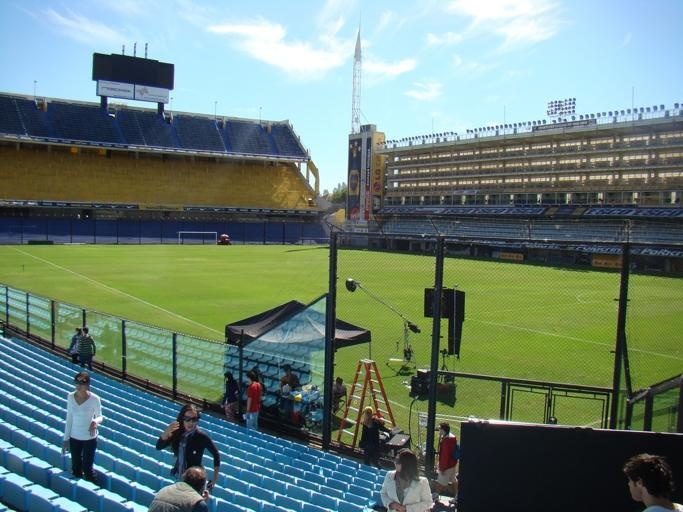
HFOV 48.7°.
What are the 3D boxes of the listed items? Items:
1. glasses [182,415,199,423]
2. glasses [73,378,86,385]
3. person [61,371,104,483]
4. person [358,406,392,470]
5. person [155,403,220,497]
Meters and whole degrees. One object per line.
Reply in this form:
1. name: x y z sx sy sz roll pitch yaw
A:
1. glasses: -2.782 2.996 13.858 0.288 0.088 0.149 5 -2 -19
2. glasses: -5.051 2.435 14.556 0.240 0.094 0.114 4 -2 7
3. person: -5.061 3.340 14.713 0.652 1.843 0.437 6 -3 -18
4. person: 0.750 4.353 17.593 0.778 1.637 0.610 1 1 3
5. person: -2.858 4.033 13.967 1.178 2.296 0.740 -1 3 -9
